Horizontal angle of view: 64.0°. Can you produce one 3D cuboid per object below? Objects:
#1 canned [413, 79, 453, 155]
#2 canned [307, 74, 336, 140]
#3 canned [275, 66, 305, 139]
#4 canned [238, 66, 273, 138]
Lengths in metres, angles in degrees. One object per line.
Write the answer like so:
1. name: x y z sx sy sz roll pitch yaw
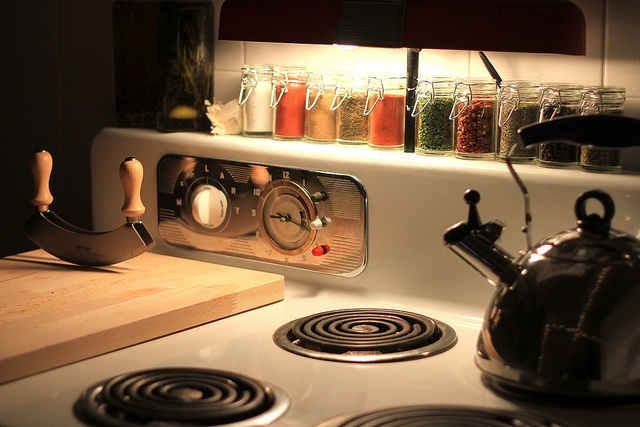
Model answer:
1. canned: 0.255 -0.229 1.162 0.094 0.173 0.043 3 15 9
2. canned: 0.005 -0.276 1.280 0.077 0.176 0.046 1 15 2
3. canned: -0.074 -0.290 1.308 0.077 0.181 0.041 1 15 1
4. canned: -0.166 -0.311 1.361 0.080 0.186 0.044 -1 15 -5
